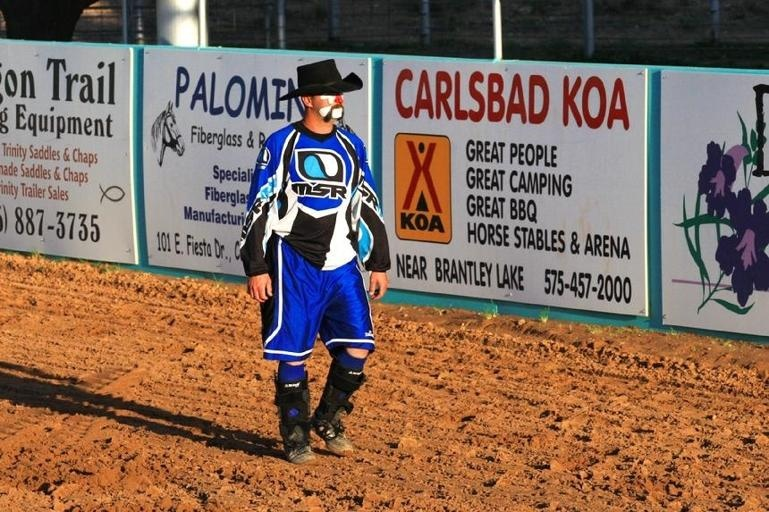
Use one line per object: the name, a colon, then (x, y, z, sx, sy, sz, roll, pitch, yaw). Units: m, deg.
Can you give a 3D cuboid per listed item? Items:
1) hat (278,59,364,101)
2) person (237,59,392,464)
hat: (-0.638, -1.691, 12.421, 0.712, 0.390, 0.874, -4, 0, 27)
person: (-0.652, 0.097, 12.573, 1.284, 4.145, 0.979, -2, 20, -7)
